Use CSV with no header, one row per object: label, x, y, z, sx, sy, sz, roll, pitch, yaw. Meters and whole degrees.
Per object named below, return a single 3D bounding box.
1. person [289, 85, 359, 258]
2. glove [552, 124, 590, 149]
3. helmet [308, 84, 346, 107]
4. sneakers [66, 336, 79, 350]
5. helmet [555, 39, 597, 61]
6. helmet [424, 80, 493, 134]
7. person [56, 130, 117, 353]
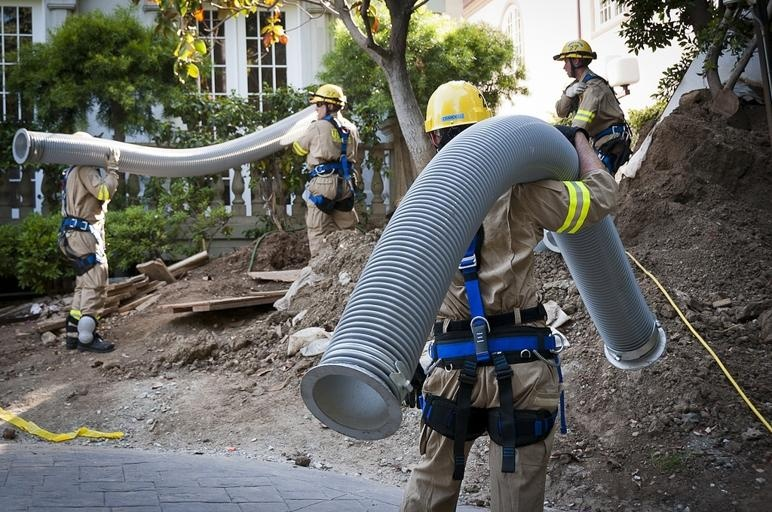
person,-0.956,-1.345,10.921,1.057,2.508,0.618,5,-2,-9
glove,1.523,-1.022,5.632,0.220,0.095,0.191,34,49,22
helmet,-0.926,-2.537,10.800,0.649,0.343,0.512,14,9,0
sneakers,-4.603,1.278,10.085,0.198,0.190,0.187,-6,-12,22
helmet,2.717,-2.898,9.708,0.465,0.225,0.373,3,7,11
helmet,0.607,-1.235,5.773,0.410,0.394,0.483,-6,27,27
person,-4.364,-0.130,10.093,0.893,3.363,0.541,6,-2,-13
